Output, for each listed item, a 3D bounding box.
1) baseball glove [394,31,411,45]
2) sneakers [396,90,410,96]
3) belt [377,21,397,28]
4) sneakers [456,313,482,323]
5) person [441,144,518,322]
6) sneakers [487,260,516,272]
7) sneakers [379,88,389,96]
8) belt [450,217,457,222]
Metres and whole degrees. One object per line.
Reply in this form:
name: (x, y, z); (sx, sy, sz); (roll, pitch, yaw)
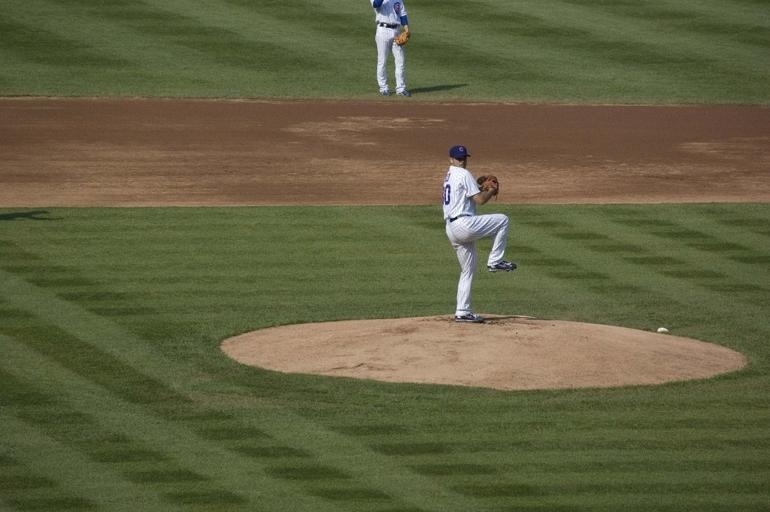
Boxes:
baseball glove: (0.364, -4.797, 40.743); (0.285, 0.344, 0.420); (2, 13, 0)
sneakers: (0.413, -3.685, 41.754); (0.326, 0.102, 0.109); (2, 32, 10)
belt: (0.036, -5.102, 40.802); (0.452, 0.131, 0.139); (2, 13, 6)
sneakers: (1.441, 1.081, 31.521); (0.501, 0.149, 0.160); (-1, 6, 1)
person: (1.548, -0.357, 31.673); (1.075, 2.983, 1.211); (-7, 18, -28)
sneakers: (2.020, 0.203, 31.625); (0.578, 0.201, 0.174); (-2, 21, 5)
sneakers: (-0.033, -3.704, 41.657); (0.247, 0.073, 0.273); (3, -2, 7)
belt: (1.161, -0.614, 31.508); (0.097, 0.062, 0.024); (5, -9, 31)
